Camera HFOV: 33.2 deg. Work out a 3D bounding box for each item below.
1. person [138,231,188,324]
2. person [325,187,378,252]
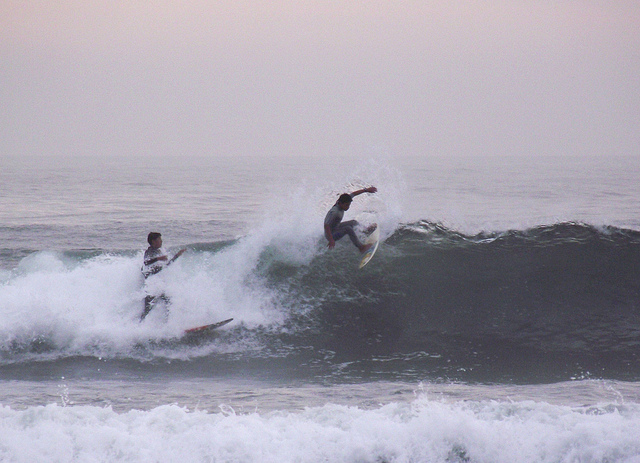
[{"bbox_3d":[-3.743,1.044,24.951,1.002,2.091,1.091,0,5,-8],"label":"person"},{"bbox_3d":[0.625,-0.241,25.362,1.200,1.477,0.502,-2,6,-31],"label":"person"}]
